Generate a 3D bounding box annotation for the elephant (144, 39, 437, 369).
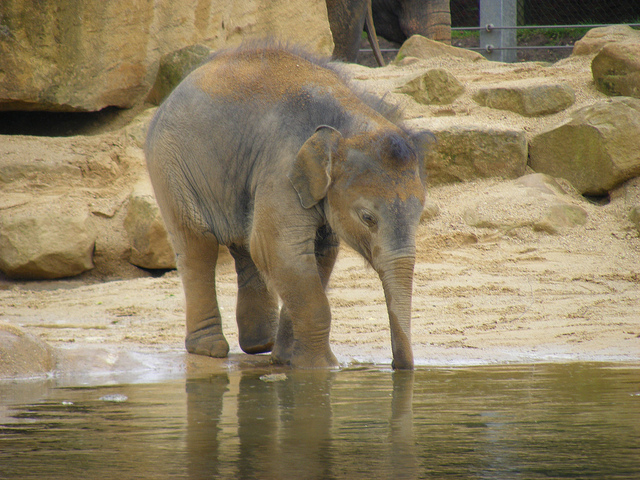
[{"bbox_3d":[-0.224,-0.229,14.209,1.317,2.817,3.193,-4,11,-43],"label":"elephant"}]
